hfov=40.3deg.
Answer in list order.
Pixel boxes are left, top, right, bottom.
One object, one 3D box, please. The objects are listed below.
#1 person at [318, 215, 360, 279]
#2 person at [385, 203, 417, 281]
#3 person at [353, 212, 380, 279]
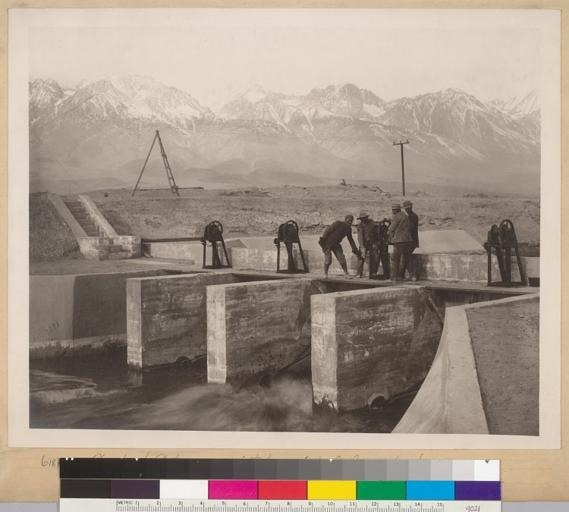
[{"bbox_3d":[0.693,-0.149,9.844,0.513,0.861,0.509,3,-5,3],"label":"person"},{"bbox_3d":[1.420,-0.191,9.497,0.301,0.965,0.386,-3,-3,8],"label":"person"},{"bbox_3d":[1.028,-0.147,9.758,0.217,0.837,0.452,-1,-3,-22],"label":"person"}]
